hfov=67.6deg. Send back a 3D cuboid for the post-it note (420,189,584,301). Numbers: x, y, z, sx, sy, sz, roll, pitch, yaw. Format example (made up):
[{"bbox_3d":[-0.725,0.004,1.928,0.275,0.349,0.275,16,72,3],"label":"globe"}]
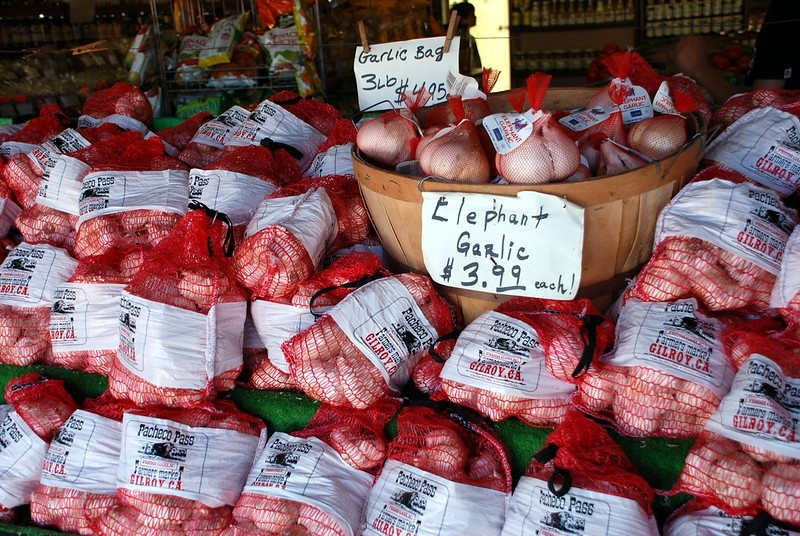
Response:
[{"bbox_3d":[0.324,-0.083,1.813,0.308,0.235,0.034,5,17,16],"label":"post-it note"}]
